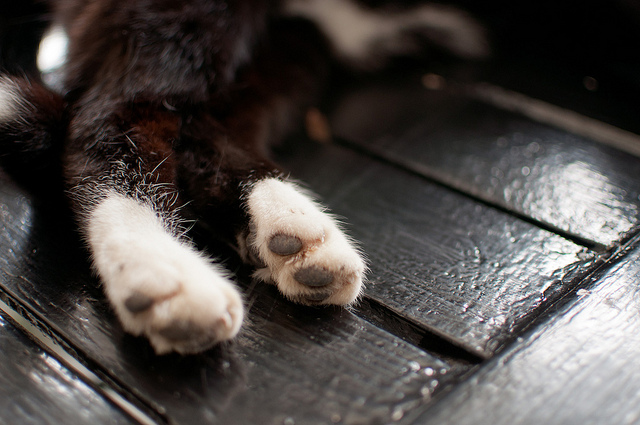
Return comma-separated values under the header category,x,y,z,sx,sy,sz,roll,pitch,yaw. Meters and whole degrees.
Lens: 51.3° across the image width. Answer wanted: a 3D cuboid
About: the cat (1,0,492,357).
category,x,y,z,sx,sy,sz,roll,pitch,yaw
cat,-0.271,-0.171,1.789,0.915,0.323,1.061,-22,20,17
